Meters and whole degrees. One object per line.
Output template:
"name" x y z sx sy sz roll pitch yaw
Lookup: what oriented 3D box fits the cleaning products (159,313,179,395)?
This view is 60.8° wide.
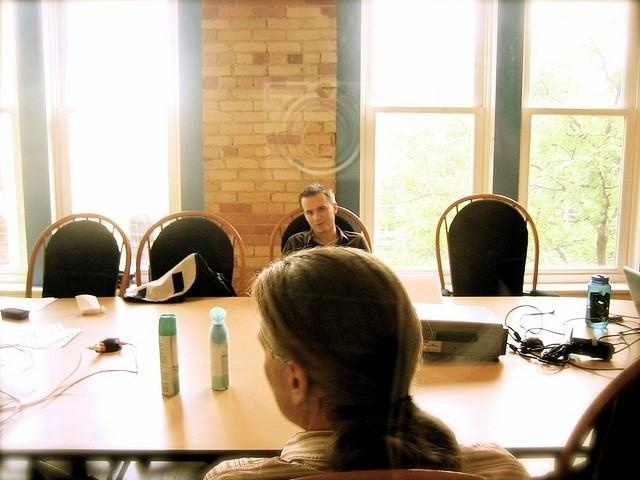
"cleaning products" -0.481 0.356 1.727 0.056 0.256 0.100 -3 7 -18

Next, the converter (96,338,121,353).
"converter" -0.753 0.372 1.947 0.046 0.029 0.064 9 7 42

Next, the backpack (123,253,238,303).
"backpack" -0.623 0.178 2.589 0.581 0.212 0.186 2 0 -33

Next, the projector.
"projector" 0.461 0.313 1.825 0.255 0.085 0.234 1 7 3

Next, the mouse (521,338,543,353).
"mouse" 0.755 0.372 1.938 0.064 0.049 0.047 17 -17 11
